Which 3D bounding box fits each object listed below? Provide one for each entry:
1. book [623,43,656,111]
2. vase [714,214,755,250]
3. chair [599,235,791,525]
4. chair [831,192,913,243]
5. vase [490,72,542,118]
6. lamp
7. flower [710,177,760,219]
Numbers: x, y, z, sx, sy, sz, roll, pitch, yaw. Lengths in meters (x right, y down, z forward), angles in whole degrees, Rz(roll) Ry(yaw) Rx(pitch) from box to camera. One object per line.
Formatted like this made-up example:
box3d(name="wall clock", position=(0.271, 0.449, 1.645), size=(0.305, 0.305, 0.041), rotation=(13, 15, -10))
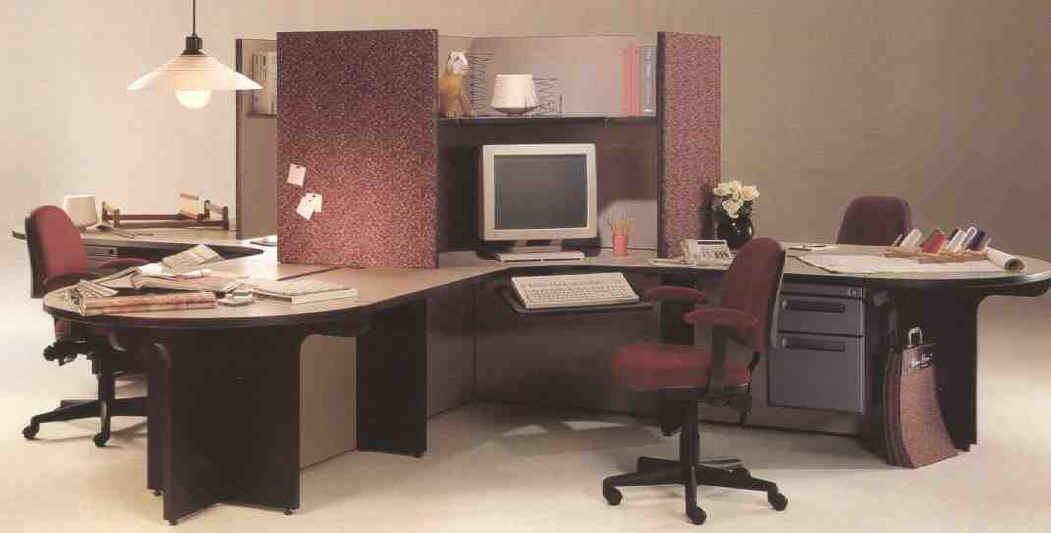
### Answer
box3d(name="book", position=(0.978, -1.620, 6.831), size=(0.265, 0.580, 0.089), rotation=(0, 14, 1))
box3d(name="vase", position=(1.795, -0.312, 6.870), size=(0.392, 0.255, 0.328), rotation=(-2, 4, -7))
box3d(name="chair", position=(1.157, 0.741, 5.991), size=(1.319, 1.986, 1.262), rotation=(-3, 13, -12))
box3d(name="chair", position=(3.256, -0.449, 7.400), size=(0.566, 0.589, 0.615), rotation=(1, 0, 32))
box3d(name="vase", position=(-0.090, -1.452, 6.841), size=(0.545, 0.312, 0.354), rotation=(0, 3, -1))
box3d(name="lamp", position=(-3.009, -1.954, 7.064), size=(0.939, 0.902, 1.887), rotation=(-4, 11, -20))
box3d(name="flower", position=(1.802, -0.609, 6.918), size=(0.440, 0.237, 0.385), rotation=(10, -9, -20))
